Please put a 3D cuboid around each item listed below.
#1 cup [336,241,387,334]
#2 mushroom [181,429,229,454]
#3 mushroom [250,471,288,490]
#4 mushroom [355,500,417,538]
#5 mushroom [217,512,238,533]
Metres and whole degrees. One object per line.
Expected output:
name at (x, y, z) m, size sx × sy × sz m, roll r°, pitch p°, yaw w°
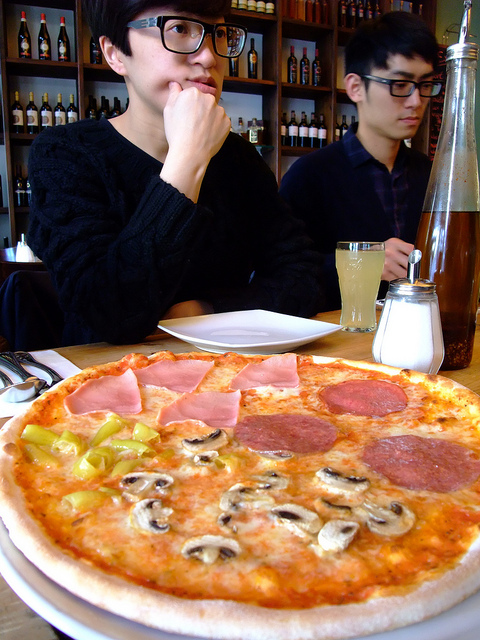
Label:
cup at (0.269, -0.075, 1.098) m, size 0.161 × 0.187 × 0.160 m, roll 1°, pitch 6°, yaw 0°
mushroom at (-0.031, 0.115, 0.468) m, size 0.025 × 0.007 × 0.020 m, roll -14°, pitch 21°, yaw -21°
mushroom at (0.027, 0.129, 0.408) m, size 0.014 × 0.004 × 0.014 m, roll 3°, pitch 11°, yaw 16°
mushroom at (0.104, 0.136, 0.351) m, size 0.036 × 0.015 × 0.023 m, roll 1°, pitch 10°, yaw -17°
mushroom at (-0.010, 0.143, 0.351) m, size 0.008 × 0.004 × 0.010 m, roll 16°, pitch 31°, yaw 1°
